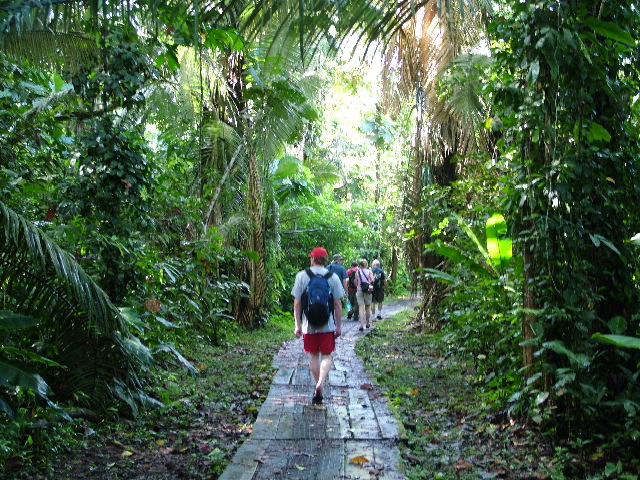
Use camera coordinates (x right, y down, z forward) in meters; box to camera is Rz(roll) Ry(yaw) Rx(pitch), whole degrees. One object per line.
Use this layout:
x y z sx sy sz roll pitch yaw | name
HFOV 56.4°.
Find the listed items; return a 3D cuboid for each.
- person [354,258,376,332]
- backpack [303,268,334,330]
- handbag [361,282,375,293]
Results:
1.121 1.335 15.068 0.486 1.717 1.638 0 -2 4 | person
-0.026 0.757 7.789 0.360 0.846 0.765 4 -13 0 | backpack
1.193 1.181 14.963 0.243 0.337 0.196 3 1 -28 | handbag
